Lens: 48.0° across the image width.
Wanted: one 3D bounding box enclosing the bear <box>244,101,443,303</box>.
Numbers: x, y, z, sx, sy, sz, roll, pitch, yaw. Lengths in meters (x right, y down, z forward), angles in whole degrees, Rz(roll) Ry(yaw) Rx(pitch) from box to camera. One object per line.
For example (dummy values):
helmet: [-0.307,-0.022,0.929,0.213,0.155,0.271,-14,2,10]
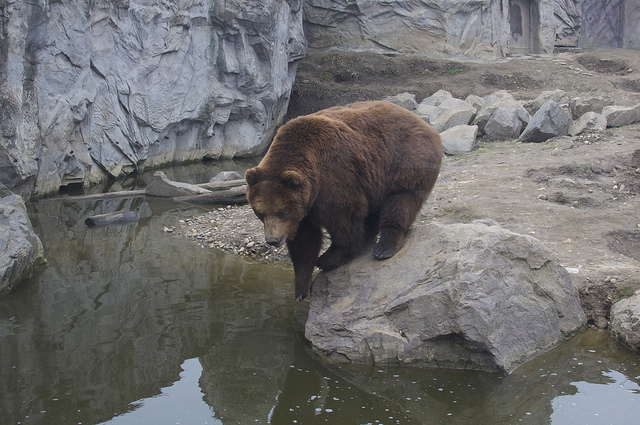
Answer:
bear: [0.248,-0.408,10.794,1.923,2.492,3.341,16,36,39]
